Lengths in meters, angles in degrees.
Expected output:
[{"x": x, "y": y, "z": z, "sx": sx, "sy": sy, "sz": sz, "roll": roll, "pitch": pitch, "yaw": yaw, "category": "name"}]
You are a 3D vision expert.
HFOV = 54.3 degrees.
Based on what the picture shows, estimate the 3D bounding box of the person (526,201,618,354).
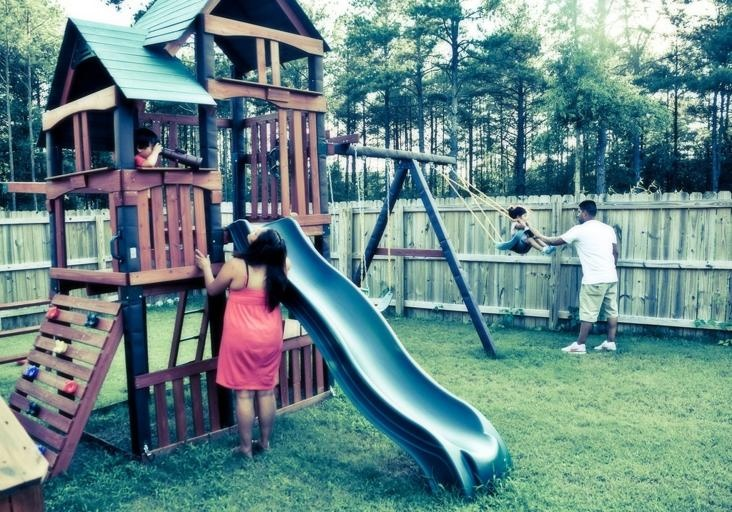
[{"x": 3.429, "y": 0.288, "z": 11.723, "sx": 0.978, "sy": 2.589, "sz": 1.235, "roll": 0, "pitch": 0, "yaw": -39, "category": "person"}]

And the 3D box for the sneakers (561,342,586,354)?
[{"x": 3.384, "y": 1.499, "z": 11.620, "sx": 0.383, "sy": 0.178, "sz": 0.166, "roll": 2, "pitch": 2, "yaw": 17, "category": "sneakers"}]

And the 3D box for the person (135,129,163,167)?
[{"x": -2.927, "y": -1.462, "z": 9.565, "sx": 0.334, "sy": 0.505, "sz": 0.813, "roll": -4, "pitch": 10, "yaw": -18, "category": "person"}]

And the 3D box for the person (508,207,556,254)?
[{"x": 2.689, "y": -0.461, "z": 12.047, "sx": 1.016, "sy": 1.108, "sz": 0.495, "roll": 1, "pitch": 11, "yaw": 26, "category": "person"}]

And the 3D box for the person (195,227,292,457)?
[{"x": -1.540, "y": 1.036, "z": 9.300, "sx": 1.083, "sy": 2.742, "sz": 1.150, "roll": 0, "pitch": 0, "yaw": -28, "category": "person"}]

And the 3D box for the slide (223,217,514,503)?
[{"x": -0.128, "y": 1.064, "z": 9.211, "sx": 0.992, "sy": 0.900, "sz": 4.945, "roll": -13, "pitch": 48, "yaw": -43, "category": "slide"}]

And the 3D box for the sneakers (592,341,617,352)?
[{"x": 3.910, "y": 1.486, "z": 11.680, "sx": 0.393, "sy": 0.197, "sz": 0.156, "roll": -2, "pitch": 0, "yaw": 22, "category": "sneakers"}]
